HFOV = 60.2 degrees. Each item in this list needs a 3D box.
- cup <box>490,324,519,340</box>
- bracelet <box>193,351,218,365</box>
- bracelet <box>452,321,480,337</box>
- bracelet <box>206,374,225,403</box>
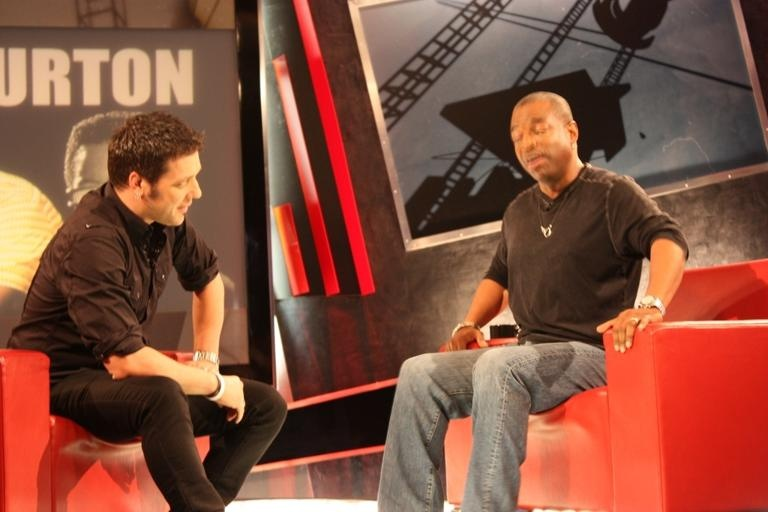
[{"bbox_3d":[0.583,0.366,3.198,0.102,0.108,0.108,1,0,0],"label":"cup"},{"bbox_3d":[-0.732,0.413,2.726,0.079,0.056,0.085,0,-2,1],"label":"bracelet"},{"bbox_3d":[0.360,0.308,2.911,0.100,0.040,0.090,-7,-1,-25],"label":"bracelet"},{"bbox_3d":[-0.623,0.498,2.499,0.086,0.088,0.034,-5,-16,43],"label":"bracelet"}]
